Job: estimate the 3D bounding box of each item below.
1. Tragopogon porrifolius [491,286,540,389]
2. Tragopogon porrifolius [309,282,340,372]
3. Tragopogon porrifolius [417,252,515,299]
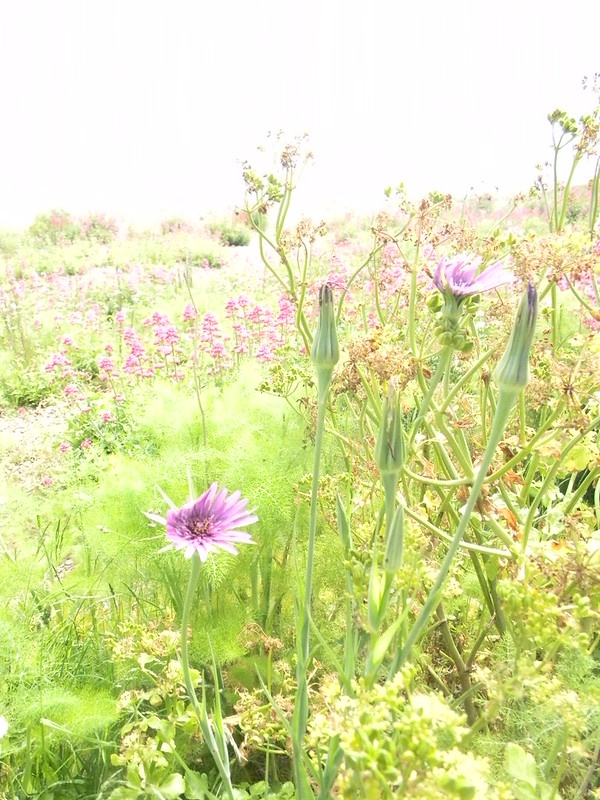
[{"bbox_3d":[0.295,-0.087,0.925,0.043,0.145,0.058,6,16,23],"label":"Tragopogon porrifolius"},{"bbox_3d":[0.049,-0.117,1.087,0.061,0.137,0.044,-14,20,-43],"label":"Tragopogon porrifolius"},{"bbox_3d":[0.302,-0.210,1.147,0.107,0.054,0.107,-15,21,-23],"label":"Tragopogon porrifolius"}]
